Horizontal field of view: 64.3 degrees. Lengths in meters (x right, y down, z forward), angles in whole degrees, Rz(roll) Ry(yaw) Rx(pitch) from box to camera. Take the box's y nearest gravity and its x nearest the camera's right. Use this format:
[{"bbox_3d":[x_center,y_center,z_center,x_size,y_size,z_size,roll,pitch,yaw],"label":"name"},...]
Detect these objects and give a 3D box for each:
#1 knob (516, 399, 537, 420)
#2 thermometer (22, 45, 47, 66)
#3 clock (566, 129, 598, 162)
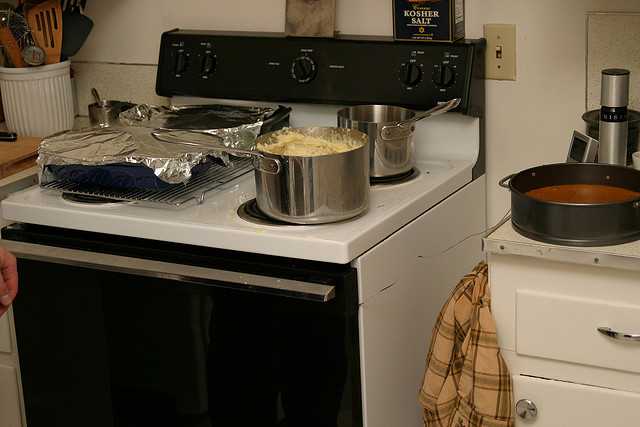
[{"bbox_3d":[0.520,0.496,1.296,0.049,0.050,0.013,24,17,22],"label":"knob"},{"bbox_3d":[-1.089,-0.610,1.951,0.073,0.074,0.017,3,14,-15],"label":"thermometer"},{"bbox_3d":[0.751,-0.186,1.465,0.059,0.087,0.109,5,19,15],"label":"clock"}]
